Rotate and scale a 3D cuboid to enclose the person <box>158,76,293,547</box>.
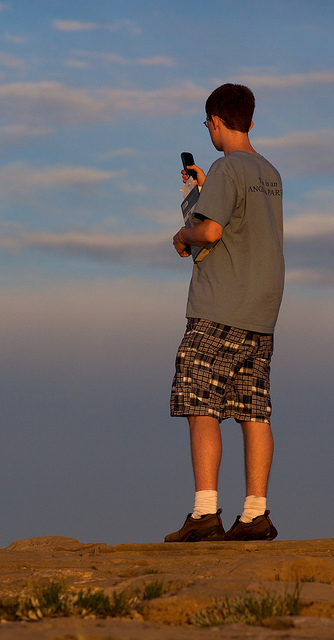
[{"bbox_3d":[0.287,0.115,5.654,0.523,1.834,0.734,2,6,4],"label":"person"}]

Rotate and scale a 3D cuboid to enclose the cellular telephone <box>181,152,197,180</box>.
[{"bbox_3d":[0.119,-0.805,6.251,0.077,0.134,0.224,2,6,1],"label":"cellular telephone"}]

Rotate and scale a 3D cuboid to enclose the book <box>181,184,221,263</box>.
[{"bbox_3d":[0.148,-0.456,5.913,0.069,0.397,0.395,-13,13,-13],"label":"book"}]
